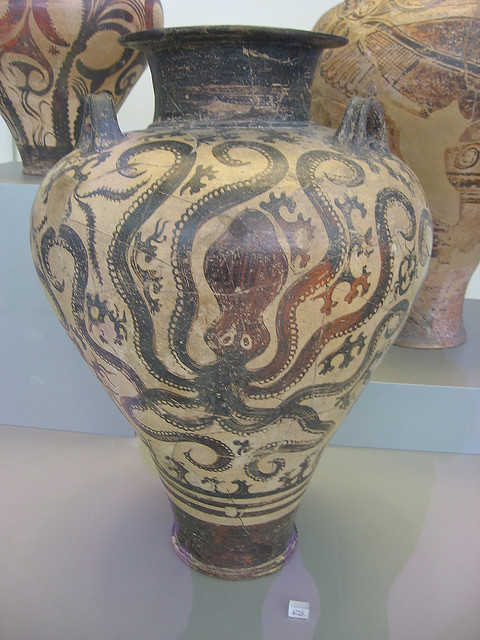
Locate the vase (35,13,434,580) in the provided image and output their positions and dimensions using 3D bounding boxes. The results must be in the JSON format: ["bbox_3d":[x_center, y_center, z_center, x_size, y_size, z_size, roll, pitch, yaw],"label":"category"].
[{"bbox_3d":[-0.003,0.029,1.061,0.542,0.649,0.484,4,2,18],"label":"vase"}]

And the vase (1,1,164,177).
[{"bbox_3d":[-0.413,-0.475,1.545,0.432,0.361,0.405,10,20,24],"label":"vase"}]
